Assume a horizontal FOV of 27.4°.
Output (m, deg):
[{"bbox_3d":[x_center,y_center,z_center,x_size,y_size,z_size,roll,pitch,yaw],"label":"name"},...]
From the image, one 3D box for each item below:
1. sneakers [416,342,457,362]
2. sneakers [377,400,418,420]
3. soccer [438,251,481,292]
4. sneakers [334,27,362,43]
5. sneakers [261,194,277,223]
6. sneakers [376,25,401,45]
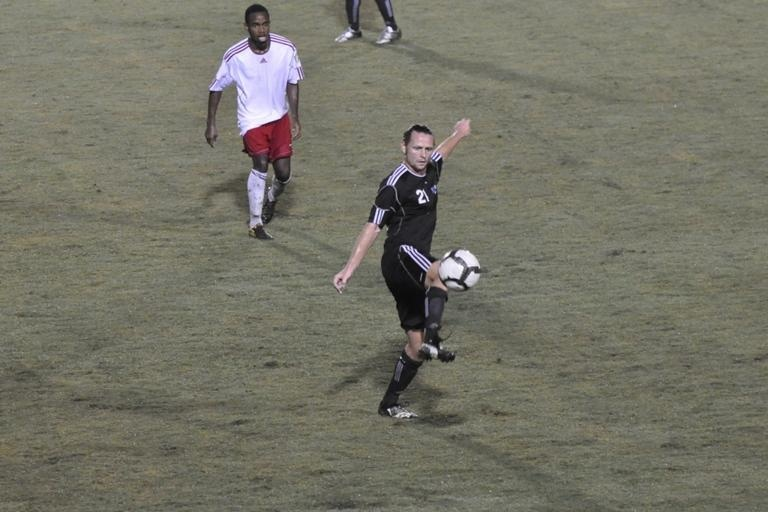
[{"bbox_3d":[0.564,1.055,17.395,0.492,0.192,0.160,13,3,11],"label":"sneakers"},{"bbox_3d":[0.151,1.771,18.174,0.431,0.142,0.190,0,10,-2],"label":"sneakers"},{"bbox_3d":[0.823,0.175,17.618,0.377,0.341,0.350,20,52,30],"label":"soccer"},{"bbox_3d":[-0.603,-3.571,25.788,0.591,0.216,0.162,-11,63,-2],"label":"sneakers"},{"bbox_3d":[-1.559,-0.646,21.190,0.165,0.182,0.381,10,72,1],"label":"sneakers"},{"bbox_3d":[0.099,-3.537,25.542,0.213,0.507,0.214,14,80,-26],"label":"sneakers"}]
